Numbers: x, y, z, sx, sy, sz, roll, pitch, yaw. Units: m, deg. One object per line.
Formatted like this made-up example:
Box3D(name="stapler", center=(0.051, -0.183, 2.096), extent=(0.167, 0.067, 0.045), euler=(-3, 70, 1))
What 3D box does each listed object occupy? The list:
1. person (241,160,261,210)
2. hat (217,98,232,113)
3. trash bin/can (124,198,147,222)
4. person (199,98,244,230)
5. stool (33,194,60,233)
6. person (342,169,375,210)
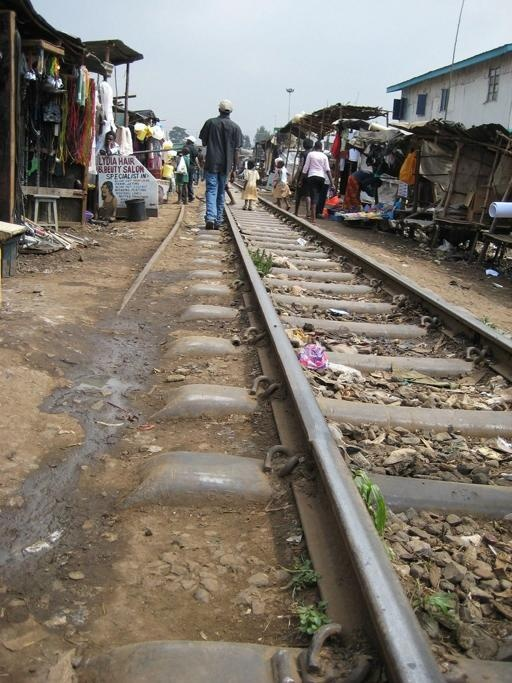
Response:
Box3D(name="person", center=(-0.207, -4.986, 15.618), extent=(0.538, 1.669, 1.277), euler=(-6, 11, 2))
Box3D(name="hat", center=(-0.601, -4.534, 9.490), extent=(0.228, 0.244, 0.237), euler=(-8, 11, -7))
Box3D(name="trash bin/can", center=(-2.737, -3.056, 11.407), extent=(0.499, 0.516, 0.497), euler=(7, 20, 26))
Box3D(name="person", center=(-0.710, -3.494, 9.853), extent=(0.912, 2.390, 0.796), euler=(-7, 12, -4))
Box3D(name="stool", center=(-3.732, -2.243, 8.668), extent=(0.445, 0.580, 0.845), euler=(-10, 12, -20))
Box3D(name="person", center=(3.514, -5.083, 16.664), extent=(0.796, 1.273, 1.318), euler=(-7, 11, -4))
